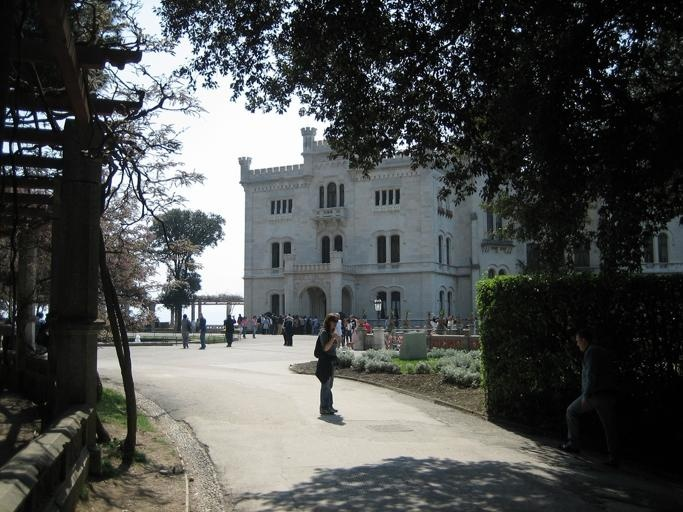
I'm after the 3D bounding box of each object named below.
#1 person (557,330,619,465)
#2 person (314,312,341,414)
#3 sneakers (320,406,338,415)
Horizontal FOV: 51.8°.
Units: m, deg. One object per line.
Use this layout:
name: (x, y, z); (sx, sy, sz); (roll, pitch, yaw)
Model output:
person: (3.967, 2.214, 11.157); (0.731, 2.042, 1.065); (1, -4, -14)
person: (-0.299, 2.150, 14.201); (0.445, 1.938, 1.406); (0, -5, 0)
sneakers: (-0.236, 3.003, 13.579); (0.327, 0.171, 0.131); (1, -5, -5)
